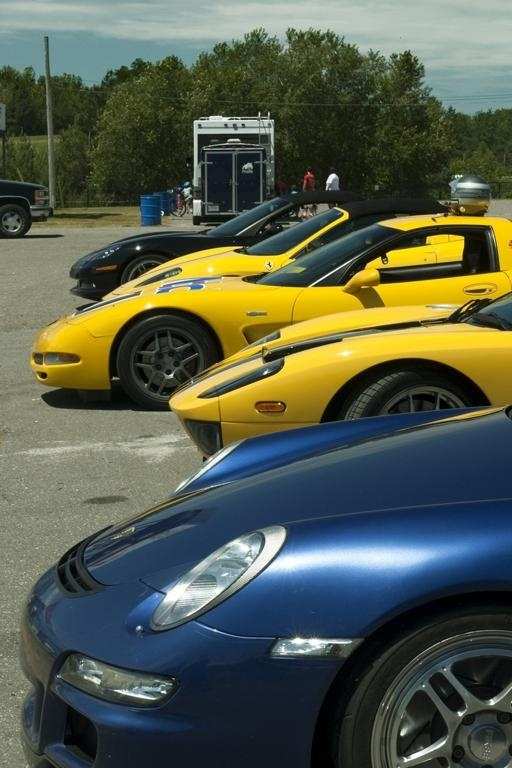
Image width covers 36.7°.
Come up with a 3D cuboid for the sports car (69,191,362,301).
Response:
[{"bbox_3d":[-0.636,-1.850,9.930,3.836,1.023,1.526,-1,5,0],"label":"sports car"}]
